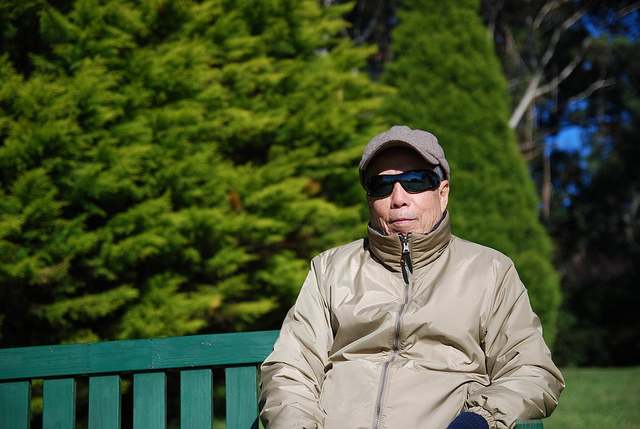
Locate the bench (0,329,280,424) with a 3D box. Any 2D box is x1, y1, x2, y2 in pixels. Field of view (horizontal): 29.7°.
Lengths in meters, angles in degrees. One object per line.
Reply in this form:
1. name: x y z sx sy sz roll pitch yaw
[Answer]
1. bench: -2.582 2.320 16.900 3.594 1.295 1.770 -2 -7 -6
